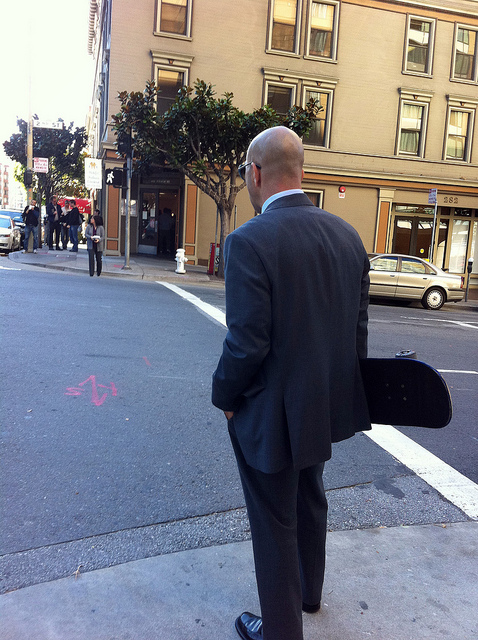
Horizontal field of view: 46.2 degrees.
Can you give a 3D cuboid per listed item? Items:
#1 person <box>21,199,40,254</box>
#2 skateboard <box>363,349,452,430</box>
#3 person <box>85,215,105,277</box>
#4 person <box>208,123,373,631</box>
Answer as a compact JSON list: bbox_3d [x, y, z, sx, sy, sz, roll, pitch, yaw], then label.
[{"bbox_3d":[-7.548,-3.366,20.398,0.563,1.808,1.975,0,8,-21],"label":"person"},{"bbox_3d":[0.555,0.257,2.132,0.470,0.201,0.195,1,6,42],"label":"skateboard"},{"bbox_3d":[-3.818,-1.948,14.791,0.465,1.582,0.934,1,7,-17],"label":"person"},{"bbox_3d":[0.181,0.180,1.844,0.544,1.599,0.419,2,6,-7],"label":"person"}]
